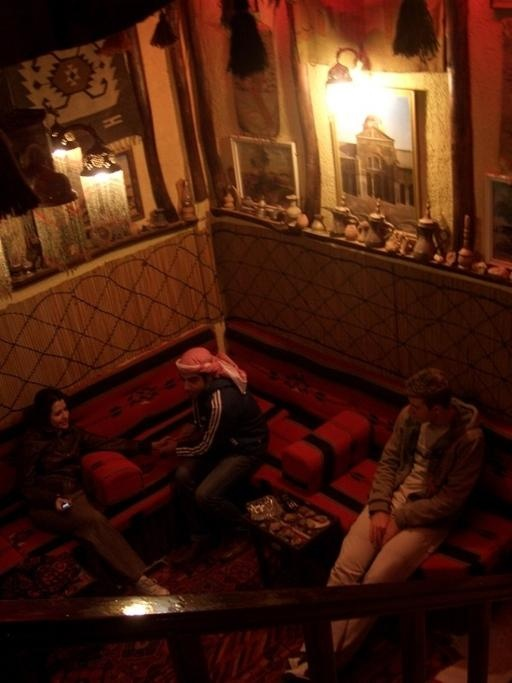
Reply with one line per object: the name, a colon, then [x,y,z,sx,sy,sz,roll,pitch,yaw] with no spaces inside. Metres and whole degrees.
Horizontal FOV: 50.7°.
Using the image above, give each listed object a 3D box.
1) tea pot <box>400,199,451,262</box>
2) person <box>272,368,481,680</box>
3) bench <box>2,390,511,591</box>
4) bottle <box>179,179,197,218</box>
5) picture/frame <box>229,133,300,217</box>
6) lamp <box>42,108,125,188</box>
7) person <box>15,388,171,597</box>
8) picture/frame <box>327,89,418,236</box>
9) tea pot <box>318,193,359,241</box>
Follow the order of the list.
tea pot: [1.145,-0.752,3.612,0.326,0.371,0.209,18,30,32]
person: [0.910,0.809,3.406,1.005,1.254,0.523,-12,14,-19]
bench: [0.181,1.030,3.895,2.118,0.634,1.871,10,26,34]
bottle: [-0.609,-1.240,4.746,0.145,0.350,0.072,-13,15,-19]
picture/frame: [0.094,-1.408,4.493,0.695,0.661,0.058,17,37,36]
lamp: [-1.214,-1.425,3.803,0.436,0.523,0.578,-12,14,-16]
person: [-1.309,1.101,4.007,0.878,1.523,0.688,-8,14,-1]
picture/frame: [0.820,-1.257,3.707,0.867,1.116,0.081,21,44,42]
tea pot: [0.683,-0.968,4.136,0.336,0.384,0.187,13,45,20]
